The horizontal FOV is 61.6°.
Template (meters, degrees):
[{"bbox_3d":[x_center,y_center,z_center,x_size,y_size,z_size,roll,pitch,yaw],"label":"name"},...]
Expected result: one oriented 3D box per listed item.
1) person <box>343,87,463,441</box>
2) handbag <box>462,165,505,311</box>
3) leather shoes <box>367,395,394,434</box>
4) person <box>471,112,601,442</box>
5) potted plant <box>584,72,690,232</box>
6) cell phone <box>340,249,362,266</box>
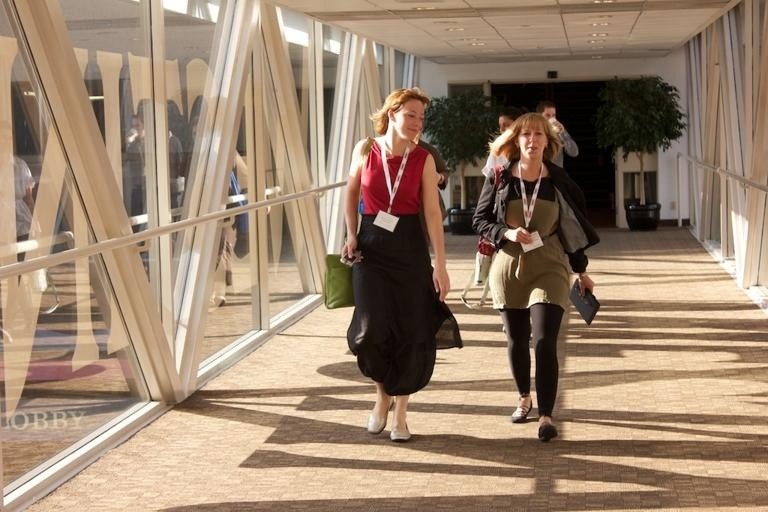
[{"bbox_3d":[0.095,0.056,4.672,0.778,2.524,0.444,0,7,-5],"label":"person"},{"bbox_3d":[1.242,-0.269,8.293,0.310,1.802,0.400,13,-5,-29],"label":"handbag"},{"bbox_3d":[-0.024,1.212,4.835,0.117,0.323,0.087,21,0,23],"label":"leather shoes"},{"bbox_3d":[1.107,0.107,4.805,0.605,2.310,0.763,-6,10,-41],"label":"person"},{"bbox_3d":[5.708,-2.345,14.598,1.882,3.425,1.098,2,7,10],"label":"potted plant"},{"bbox_3d":[-0.231,-0.003,4.620,0.117,0.094,0.044,-9,25,-8],"label":"cell phone"}]
